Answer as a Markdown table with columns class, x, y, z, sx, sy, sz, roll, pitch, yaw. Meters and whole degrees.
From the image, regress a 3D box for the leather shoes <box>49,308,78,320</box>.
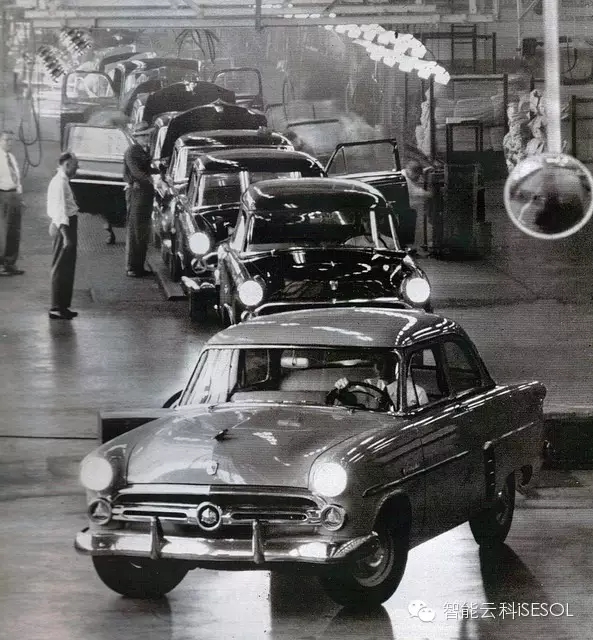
| class | x | y | z | sx | sy | sz | roll | pitch | yaw |
| --- | --- | --- | --- | --- | --- | --- | --- | --- | --- |
| leather shoes | -2.415 | -0.064 | 15.394 | 0.307 | 0.110 | 0.109 | -1 | 6 | 7 |

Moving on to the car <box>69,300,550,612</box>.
| class | x | y | z | sx | sy | sz | roll | pitch | yaw |
| --- | --- | --- | --- | --- | --- | --- | --- | --- | --- |
| car | 0.151 | 0.626 | 7.310 | 1.212 | 0.843 | 2.324 | 0 | 0 | 25 |
